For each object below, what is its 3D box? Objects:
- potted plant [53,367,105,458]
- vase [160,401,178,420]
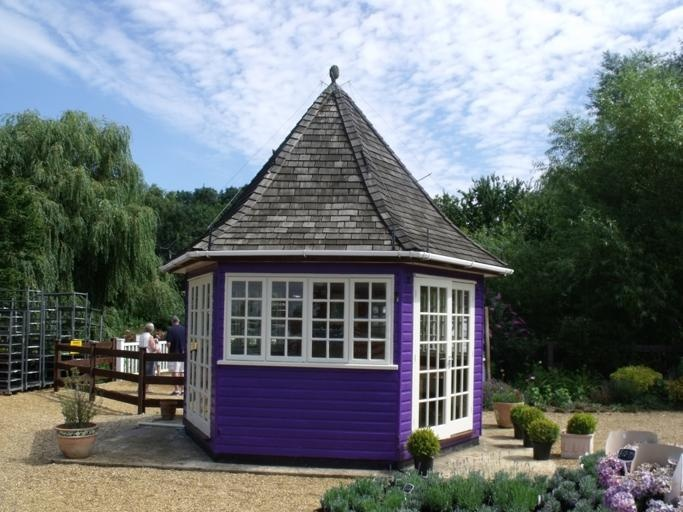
[{"bbox_3d":[-5.600,3.347,15.559,0.783,1.773,1.386,6,-9,-18],"label":"potted plant"},{"bbox_3d":[-4.280,3.821,18.159,0.430,0.419,0.447,-1,-6,21],"label":"vase"}]
